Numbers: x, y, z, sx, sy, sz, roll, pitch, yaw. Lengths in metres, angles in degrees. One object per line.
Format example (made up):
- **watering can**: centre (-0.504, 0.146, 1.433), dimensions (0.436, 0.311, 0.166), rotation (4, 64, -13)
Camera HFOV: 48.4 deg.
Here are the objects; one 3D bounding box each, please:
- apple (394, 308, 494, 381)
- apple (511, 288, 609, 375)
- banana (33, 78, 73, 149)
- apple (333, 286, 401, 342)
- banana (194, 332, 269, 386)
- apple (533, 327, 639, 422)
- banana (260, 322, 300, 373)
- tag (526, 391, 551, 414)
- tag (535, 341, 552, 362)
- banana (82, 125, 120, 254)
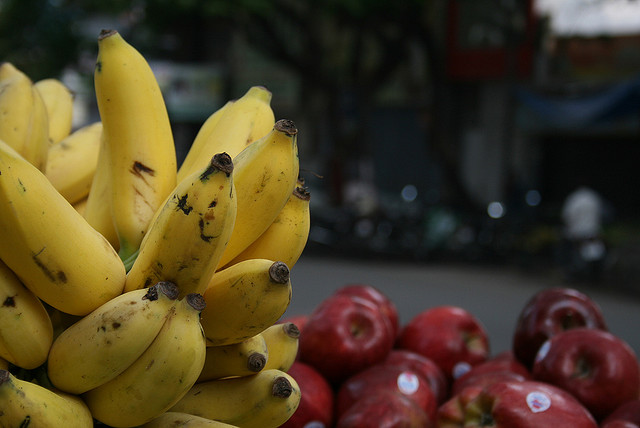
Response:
- **apple**: centre (0.611, 0.680, 3.449), dimensions (0.417, 0.398, 0.365), rotation (-4, -16, 10)
- **apple**: centre (1.081, 0.495, 3.371), dimensions (0.347, 0.403, 0.454), rotation (-29, -22, 24)
- **banana**: centre (-1.228, -0.449, 3.266), dimensions (0.096, 0.340, 0.205), rotation (16, -43, -24)
- **apple**: centre (0.222, 0.483, 3.489), dimensions (0.243, 0.345, 0.263), rotation (-1, -23, -13)
- **banana**: centre (-0.339, 0.548, 2.746), dimensions (0.331, 0.159, 0.171), rotation (-7, 14, 17)
- **apple**: centre (1.122, 0.638, 3.103), dimensions (0.368, 0.420, 0.374), rotation (4, -24, -41)
- **banana**: centre (-0.154, 0.555, 2.928), dimensions (0.211, 0.135, 0.111), rotation (-39, -25, 12)
- **tag**: centre (0.865, 0.748, 2.828), dimensions (0.092, 0.056, 0.074), rotation (-3, 16, -20)
- **tag**: centre (0.971, 0.599, 3.110), dimensions (0.014, 0.078, 0.074), rotation (23, -3, 15)
- **banana**: centre (-0.842, -0.055, 2.869), dimensions (0.166, 0.574, 0.131), rotation (0, 2, 45)
